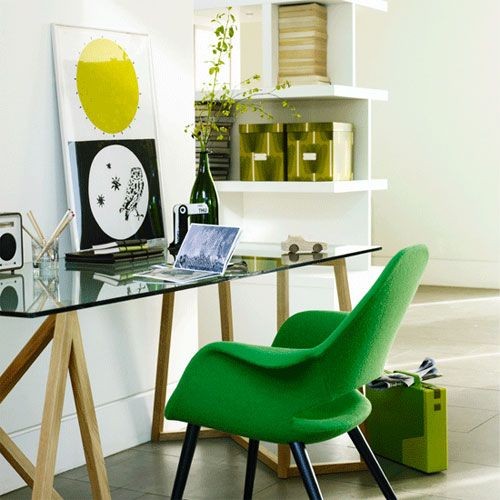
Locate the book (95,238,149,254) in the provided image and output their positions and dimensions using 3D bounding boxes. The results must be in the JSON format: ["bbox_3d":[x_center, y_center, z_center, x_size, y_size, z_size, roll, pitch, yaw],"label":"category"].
[{"bbox_3d":[-0.442,-0.014,1.712,0.113,0.035,0.125,1,4,36],"label":"book"}]

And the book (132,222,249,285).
[{"bbox_3d":[-0.160,-0.020,1.370,0.149,0.106,0.212,6,10,33],"label":"book"}]

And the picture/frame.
[{"bbox_3d":[-0.563,-0.485,2.062,0.137,0.928,0.495,5,9,37],"label":"picture/frame"}]
